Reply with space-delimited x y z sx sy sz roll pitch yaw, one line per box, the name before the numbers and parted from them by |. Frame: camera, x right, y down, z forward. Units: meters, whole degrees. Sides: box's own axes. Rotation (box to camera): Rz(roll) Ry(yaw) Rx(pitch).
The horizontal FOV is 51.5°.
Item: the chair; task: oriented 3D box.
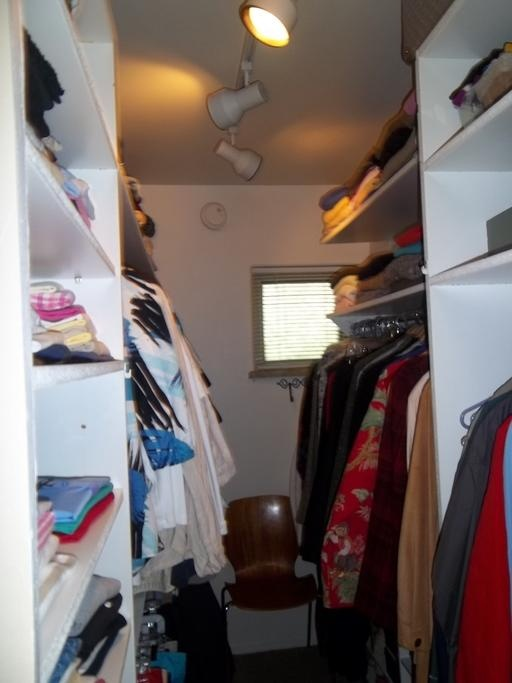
chair | 0.041 0.997 2.437 0.421 0.606 0.522 -3 1 -6
